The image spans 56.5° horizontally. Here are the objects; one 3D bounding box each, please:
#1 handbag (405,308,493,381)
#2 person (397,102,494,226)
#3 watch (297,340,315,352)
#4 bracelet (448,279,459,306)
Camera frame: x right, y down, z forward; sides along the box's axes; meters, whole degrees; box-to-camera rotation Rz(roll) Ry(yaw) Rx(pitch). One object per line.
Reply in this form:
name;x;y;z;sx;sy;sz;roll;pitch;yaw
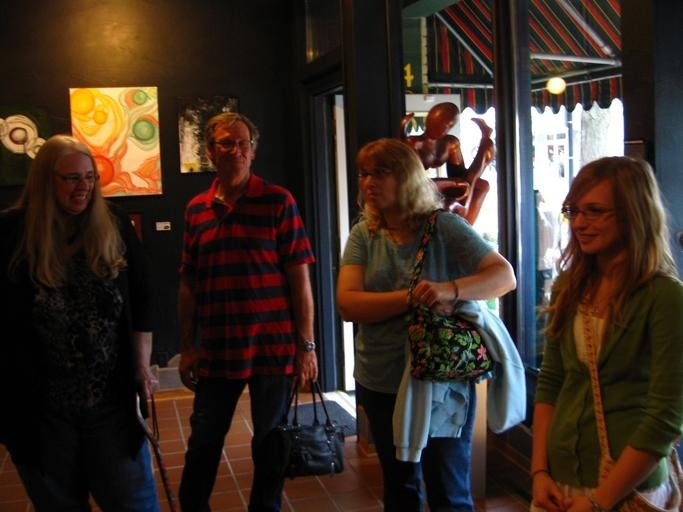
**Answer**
handbag;0.385;0.312;2.232;0.288;0.272;0.109;-2;5;7
person;0.540;-0.410;3.335;0.458;0.759;0.359;14;28;29
watch;-0.170;0.417;2.951;0.052;0.038;0.062;3;-5;-19
bracelet;0.387;0.143;2.232;0.021;0.066;0.051;-1;-3;22
